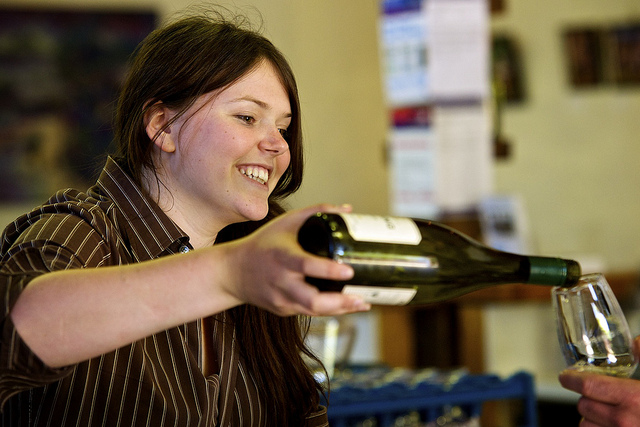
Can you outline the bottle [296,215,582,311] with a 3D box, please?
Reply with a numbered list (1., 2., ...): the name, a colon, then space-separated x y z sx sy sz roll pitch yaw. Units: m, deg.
1. bottle: 0.211 0.079 1.015 0.547 0.168 0.142 -2 3 -22
